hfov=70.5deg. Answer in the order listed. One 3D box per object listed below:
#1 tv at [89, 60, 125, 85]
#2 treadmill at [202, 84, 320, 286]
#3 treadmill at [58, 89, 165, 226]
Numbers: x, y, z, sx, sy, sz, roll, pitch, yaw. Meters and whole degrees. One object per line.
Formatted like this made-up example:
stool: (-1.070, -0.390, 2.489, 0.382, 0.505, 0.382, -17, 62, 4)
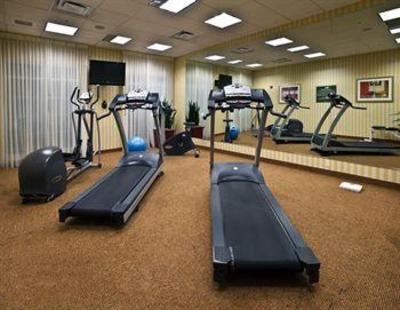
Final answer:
tv: (-2.432, -2.155, 7.399, 0.938, 0.575, 0.094, -8, 16, -33)
treadmill: (0.592, 0.232, 3.729, 1.054, 1.556, 2.533, 0, 15, -2)
treadmill: (-1.233, -0.133, 4.355, 0.885, 1.698, 2.165, 2, 13, 5)
